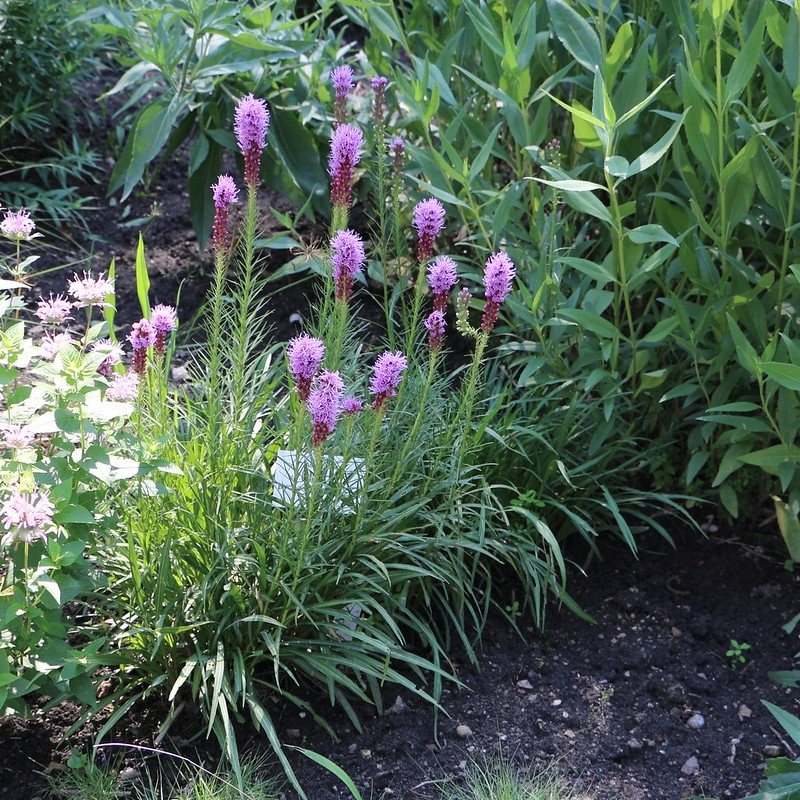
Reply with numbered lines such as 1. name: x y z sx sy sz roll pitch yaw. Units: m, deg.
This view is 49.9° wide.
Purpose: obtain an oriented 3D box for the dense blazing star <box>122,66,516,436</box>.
1. dense blazing star: -0.235 -0.500 2.848 1.206 1.185 0.755 7 40 -7
